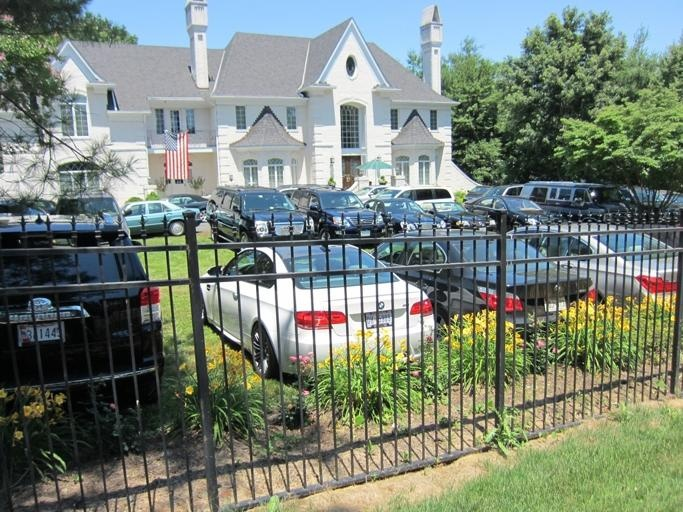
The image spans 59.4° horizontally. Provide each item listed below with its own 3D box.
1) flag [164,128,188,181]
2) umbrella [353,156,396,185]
[{"bbox_3d":[-7.936,-4.871,28.791,1.274,2.163,1.006,-2,3,2],"label":"flag"},{"bbox_3d":[1.969,-5.376,36.414,1.565,1.605,1.723,0,16,-1],"label":"umbrella"}]
